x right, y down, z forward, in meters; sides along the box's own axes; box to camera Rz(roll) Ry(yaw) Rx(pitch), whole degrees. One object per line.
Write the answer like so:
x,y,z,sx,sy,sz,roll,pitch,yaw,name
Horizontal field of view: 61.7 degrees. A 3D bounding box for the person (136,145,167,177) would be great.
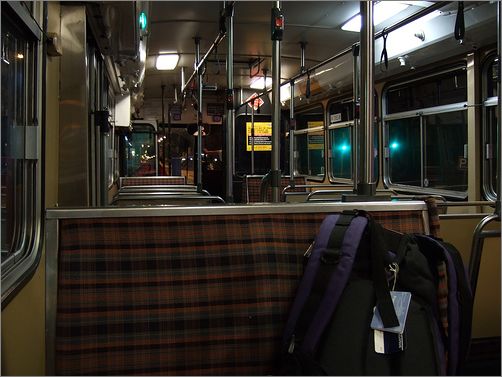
-2.775,-0.713,12.201,0.700,0.746,0.179,0,-7,34,person
